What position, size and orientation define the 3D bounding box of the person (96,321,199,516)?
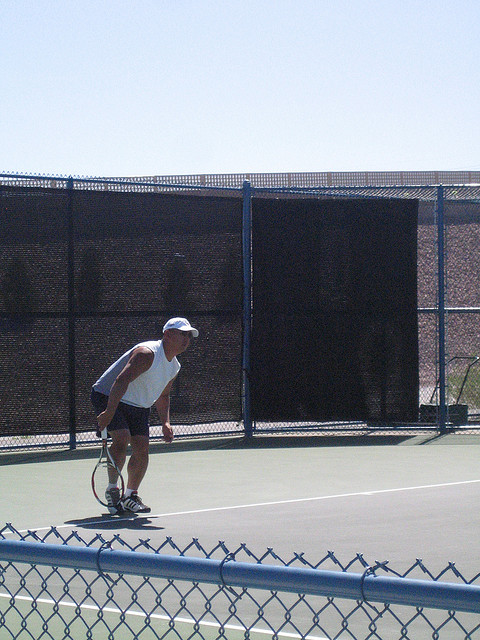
[{"bbox_3d":[-0.836,0.746,9.114,0.676,1.393,2.939,-1,-2,-7],"label":"person"}]
